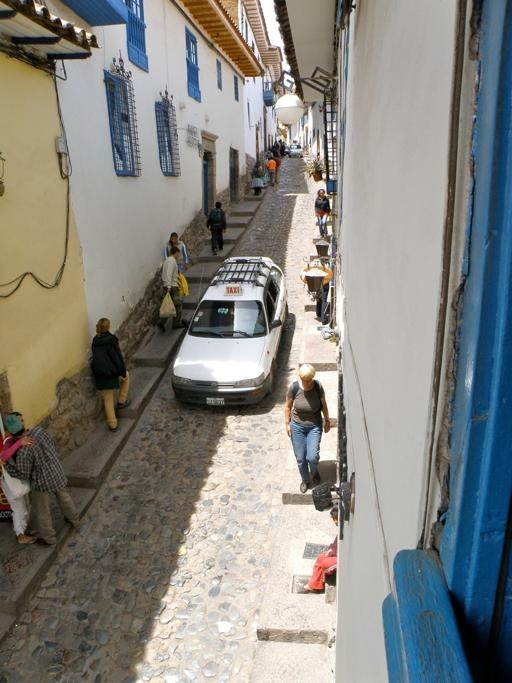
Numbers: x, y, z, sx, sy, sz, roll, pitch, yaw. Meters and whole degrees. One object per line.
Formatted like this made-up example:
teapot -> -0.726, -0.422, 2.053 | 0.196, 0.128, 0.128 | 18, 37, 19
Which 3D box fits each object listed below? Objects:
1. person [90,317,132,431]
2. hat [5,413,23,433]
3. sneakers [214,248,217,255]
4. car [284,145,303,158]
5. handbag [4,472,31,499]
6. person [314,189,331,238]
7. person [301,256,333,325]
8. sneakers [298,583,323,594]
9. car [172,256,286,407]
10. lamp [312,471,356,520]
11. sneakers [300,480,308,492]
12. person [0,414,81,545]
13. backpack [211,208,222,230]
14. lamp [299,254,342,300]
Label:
person -> -2.479, 0.534, 7.399 | 0.600, 1.841, 0.604 | 17, 27, 39
hat -> -2.757, 0.936, 4.958 | 0.156, 0.237, 0.179 | -19, 29, -38
sneakers -> -1.327, -2.921, 14.188 | 0.126, 0.255, 0.123 | -1, 12, -12
car -> 3.276, -15.920, 36.396 | 1.134, 0.780, 1.793 | -1, 25, -1
handbag -> -2.745, 1.632, 4.986 | 0.156, 0.321, 0.080 | -45, 12, -37
person -> 2.393, -4.593, 15.436 | 0.514, 1.682, 2.010 | 3, 24, 9
person -> 1.619, -1.228, 10.405 | 0.475, 1.133, 0.492 | -7, 6, -20
sneakers -> 0.586, 2.649, 4.634 | 0.188, 0.088, 0.117 | -3, 1, 13
car -> -0.437, -0.145, 8.993 | 1.893, 1.891, 3.305 | 2, 24, 8
lamp -> 0.660, 1.196, 3.491 | 0.399, 0.186, 0.340 | -21, 0, 27
sneakers -> 0.650, 1.945, 5.830 | 0.071, 0.065, 0.155 | 1, 43, 7
person -> -2.730, 1.781, 5.444 | 0.638, 1.679, 0.638 | 19, 37, 10
backpack -> -1.223, -3.847, 13.726 | 0.363, 0.578, 0.343 | -4, 22, -7
lamp -> 1.522, -1.665, 10.788 | 0.574, 1.012, 1.908 | 2, 26, 6
